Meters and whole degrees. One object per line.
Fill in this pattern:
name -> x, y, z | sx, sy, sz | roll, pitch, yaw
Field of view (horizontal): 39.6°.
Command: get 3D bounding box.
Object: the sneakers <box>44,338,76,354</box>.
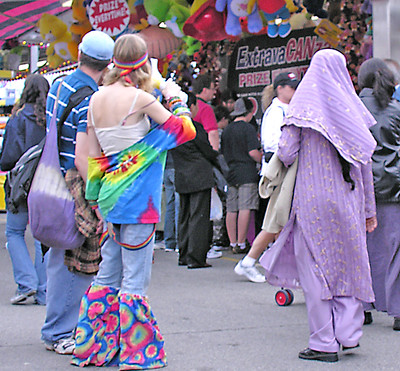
sneakers -> -0.927, 1.079, 3.771 | 0.220, 0.108, 0.092 | 6, -13, 13

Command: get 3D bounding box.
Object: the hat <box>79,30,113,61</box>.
hat -> -0.669, -0.957, 3.647 | 0.169, 0.135, 0.231 | 9, 47, -14

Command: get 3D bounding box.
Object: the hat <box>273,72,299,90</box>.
hat -> 0.862, -1.062, 5.648 | 0.219, 0.123, 0.160 | 1, 16, 16

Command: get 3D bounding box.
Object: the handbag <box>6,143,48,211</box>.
handbag -> -1.354, -0.055, 4.355 | 0.249, 0.361, 0.460 | 17, 21, -18

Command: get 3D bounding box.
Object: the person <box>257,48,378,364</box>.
person -> 0.822, 0.112, 3.712 | 0.703, 2.026, 0.667 | 3, 9, 15

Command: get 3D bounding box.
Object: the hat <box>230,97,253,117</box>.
hat -> 0.535, -1.030, 7.273 | 0.287, 0.161, 0.195 | -33, 27, -14

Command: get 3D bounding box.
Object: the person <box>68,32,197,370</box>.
person -> -0.435, 0.117, 3.433 | 0.731, 2.076, 0.537 | 1, 9, -3

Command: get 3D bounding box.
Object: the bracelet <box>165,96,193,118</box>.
bracelet -> -0.140, -0.524, 3.589 | 0.062, 0.134, 0.135 | -42, 40, -10
